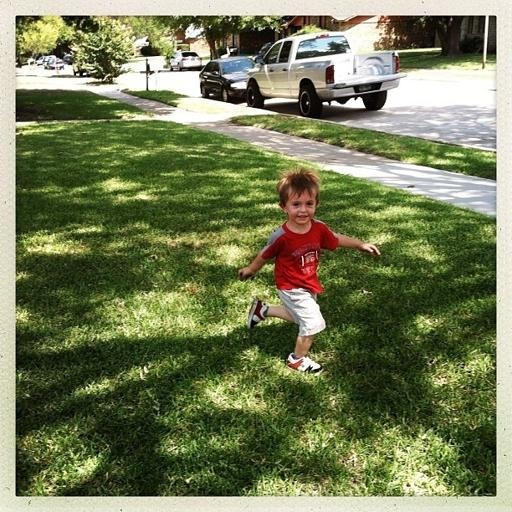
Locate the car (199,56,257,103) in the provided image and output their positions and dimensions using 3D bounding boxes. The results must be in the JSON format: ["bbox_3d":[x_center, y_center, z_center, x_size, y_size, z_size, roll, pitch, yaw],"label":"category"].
[{"bbox_3d":[-1.017,-6.130,18.133,1.314,0.780,2.705,-11,20,-20],"label":"car"}]

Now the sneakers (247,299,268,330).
[{"bbox_3d":[0.006,0.391,3.644,0.128,0.237,0.083,20,31,-14],"label":"sneakers"}]

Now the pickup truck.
[{"bbox_3d":[1.532,-4.854,13.909,2.461,1.561,4.029,-16,29,-27],"label":"pickup truck"}]

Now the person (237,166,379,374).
[{"bbox_3d":[0.281,0.057,3.324,0.555,1.199,0.531,10,16,35],"label":"person"}]

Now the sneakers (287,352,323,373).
[{"bbox_3d":[0.291,0.660,3.221,0.241,0.078,0.081,5,5,3],"label":"sneakers"}]
